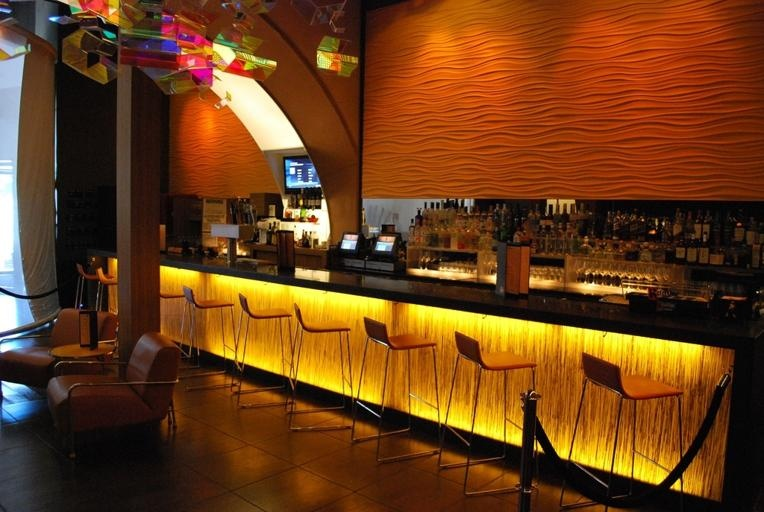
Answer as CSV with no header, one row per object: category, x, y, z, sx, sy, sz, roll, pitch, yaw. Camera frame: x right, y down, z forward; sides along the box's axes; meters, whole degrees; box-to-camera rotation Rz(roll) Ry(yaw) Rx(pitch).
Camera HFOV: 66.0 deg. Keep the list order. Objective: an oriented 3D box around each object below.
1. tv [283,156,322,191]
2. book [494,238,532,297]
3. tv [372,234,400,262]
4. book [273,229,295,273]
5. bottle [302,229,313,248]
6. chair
tv,-1.487,-1.557,11.143,0.953,0.678,0.102,5,10,38
book,1.444,0.150,6.559,0.361,0.575,0.223,5,6,19
tv,0.048,-0.132,9.280,0.222,0.430,0.531,-2,7,-41
book,-1.363,-0.092,8.465,0.268,0.674,0.265,4,19,8
bottle,-1.361,-0.305,10.823,0.205,0.265,0.450,2,5,-7
chair,-3.187,1.407,6.685,1.397,1.111,1.376,10,-2,-36
